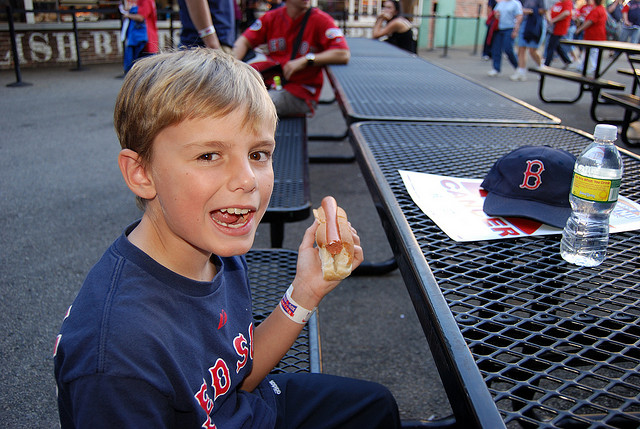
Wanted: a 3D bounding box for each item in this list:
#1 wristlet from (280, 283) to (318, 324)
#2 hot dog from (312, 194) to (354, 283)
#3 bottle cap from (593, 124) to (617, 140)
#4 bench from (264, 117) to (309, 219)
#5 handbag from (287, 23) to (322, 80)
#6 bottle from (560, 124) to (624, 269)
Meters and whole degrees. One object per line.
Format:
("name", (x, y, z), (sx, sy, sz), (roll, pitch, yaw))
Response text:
("wristlet", (-0.079, 0.308, 1.601), (0.114, 0.073, 0.111), (34, 22, 7))
("hot dog", (0.025, 0.072, 1.351), (0.107, 0.222, 0.125), (2, 13, -3))
("bottle cap", (0.779, -0.227, 1.385), (0.052, 0.033, 0.051), (-18, 34, -40))
("bench", (-0.159, -0.207, 2.464), (0.220, 0.183, 0.745), (-3, 32, -4))
("handbag", (-0.166, -1.374, 4.240), (0.320, 0.397, 0.214), (27, 60, -10))
("bottle", (0.769, -0.032, 1.417), (0.147, 0.444, 0.138), (2, 22, -1))
